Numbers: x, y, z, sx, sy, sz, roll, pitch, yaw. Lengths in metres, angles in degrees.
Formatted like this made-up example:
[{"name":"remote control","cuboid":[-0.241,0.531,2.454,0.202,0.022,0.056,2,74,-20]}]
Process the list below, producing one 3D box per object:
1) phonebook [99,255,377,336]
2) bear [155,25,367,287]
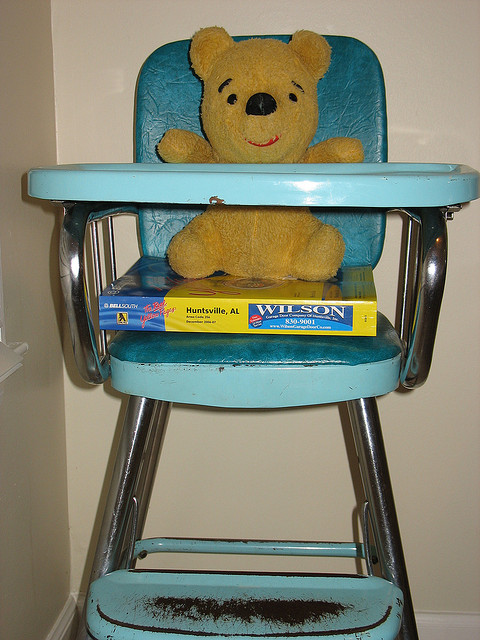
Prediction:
[{"name":"phonebook","cuboid":[0.012,-0.035,0.754,0.359,0.083,0.237,1,8,4]},{"name":"bear","cuboid":[0.034,-0.211,0.751,0.249,0.366,0.191,1,5,0]}]
